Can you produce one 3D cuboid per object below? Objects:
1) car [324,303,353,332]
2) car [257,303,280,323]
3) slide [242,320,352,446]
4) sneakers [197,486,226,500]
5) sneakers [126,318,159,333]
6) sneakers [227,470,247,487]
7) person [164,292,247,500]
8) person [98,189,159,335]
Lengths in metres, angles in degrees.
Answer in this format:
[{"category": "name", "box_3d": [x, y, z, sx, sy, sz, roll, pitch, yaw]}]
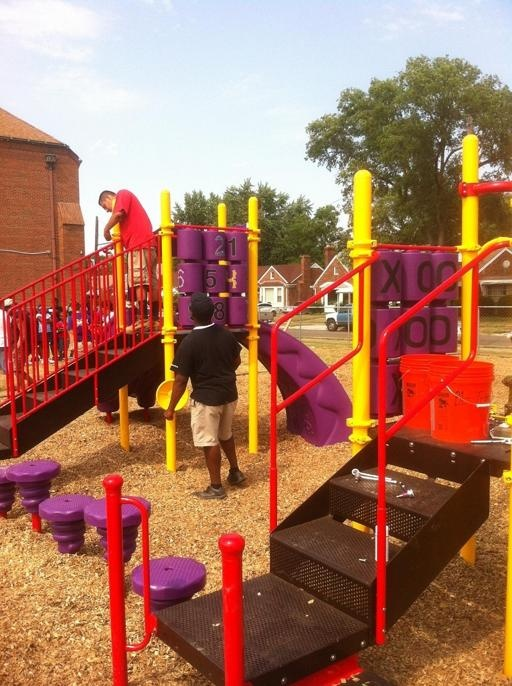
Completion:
[{"category": "car", "box_3d": [4.156, -1.264, 31.277, 2.108, 1.119, 1.211, 6, 8, 36]}, {"category": "car", "box_3d": [0.704, -1.992, 40.737, 1.837, 1.209, 2.713, -3, 3, -26]}, {"category": "slide", "box_3d": [0.396, 0.445, 6.444, 0.745, 1.320, 1.034, -8, 9, -40]}, {"category": "sneakers", "box_3d": [-0.346, 1.214, 5.024, 0.269, 0.108, 0.099, 0, -5, 11]}, {"category": "sneakers", "box_3d": [-1.165, -0.172, 6.388, 0.218, 0.105, 0.278, -6, 0, -33]}, {"category": "sneakers", "box_3d": [-0.176, 1.166, 5.313, 0.085, 0.103, 0.216, -21, 7, -21]}, {"category": "person", "box_3d": [-0.379, 0.436, 4.931, 0.444, 1.672, 0.667, 2, 8, 28]}, {"category": "person", "box_3d": [-1.367, -0.924, 6.704, 0.569, 1.493, 2.064, -4, 7, -11]}]
